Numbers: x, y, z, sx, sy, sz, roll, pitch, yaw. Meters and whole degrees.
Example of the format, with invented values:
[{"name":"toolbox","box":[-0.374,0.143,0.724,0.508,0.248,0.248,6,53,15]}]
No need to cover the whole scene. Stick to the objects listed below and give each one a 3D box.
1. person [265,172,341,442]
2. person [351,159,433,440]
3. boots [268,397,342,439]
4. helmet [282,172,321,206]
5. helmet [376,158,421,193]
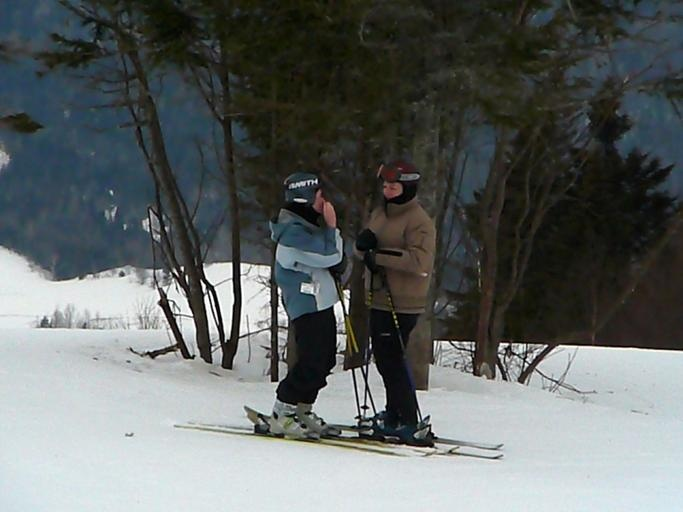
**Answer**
[{"name":"person","box":[-0.451,0.658,11.201,0.969,3.484,0.457,4,3,-1]},{"name":"person","box":[0.735,0.599,11.220,1.026,3.695,0.449,4,3,6]},{"name":"boots","box":[-0.511,2.178,11.463,1.076,0.870,0.416,0,2,-7]},{"name":"helmet","box":[-0.522,-0.894,11.179,0.405,0.421,0.334,-5,14,-6]},{"name":"helmet","box":[0.768,-1.063,11.142,0.413,0.376,0.361,11,2,-7]}]
